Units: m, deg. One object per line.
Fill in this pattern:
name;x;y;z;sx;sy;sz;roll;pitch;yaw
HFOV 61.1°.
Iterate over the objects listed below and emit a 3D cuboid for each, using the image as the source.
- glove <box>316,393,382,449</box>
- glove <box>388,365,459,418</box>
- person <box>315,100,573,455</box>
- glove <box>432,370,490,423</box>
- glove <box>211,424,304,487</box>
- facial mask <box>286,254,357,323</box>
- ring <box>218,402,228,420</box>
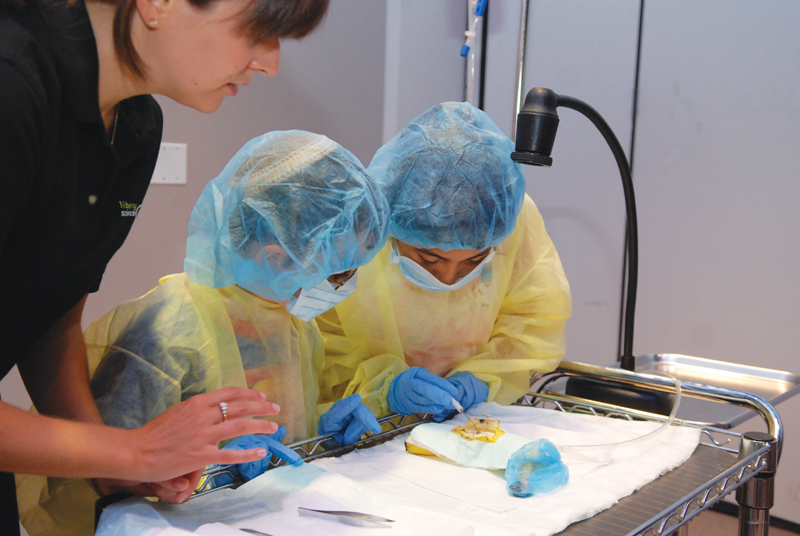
glove;-0.131;0.386;1.701;0.146;0.117;0.073;-24;-12;6
glove;0.052;0.348;1.895;0.216;0.093;0.159;-2;4;-21
person;0.117;-0.011;2.031;0.857;0.922;0.579;-3;27;-12
glove;0.176;0.357;1.904;0.133;0.048;0.108;-24;14;-31
glove;-0.322;0.430;1.551;0.170;0.066;0.141;-25;55;-13
facial mask;-0.208;0.056;1.719;0.139;0.043;0.138;-28;20;38
ring;-0.343;0.278;1.310;0.010;0.026;0.023;-7;19;-15
